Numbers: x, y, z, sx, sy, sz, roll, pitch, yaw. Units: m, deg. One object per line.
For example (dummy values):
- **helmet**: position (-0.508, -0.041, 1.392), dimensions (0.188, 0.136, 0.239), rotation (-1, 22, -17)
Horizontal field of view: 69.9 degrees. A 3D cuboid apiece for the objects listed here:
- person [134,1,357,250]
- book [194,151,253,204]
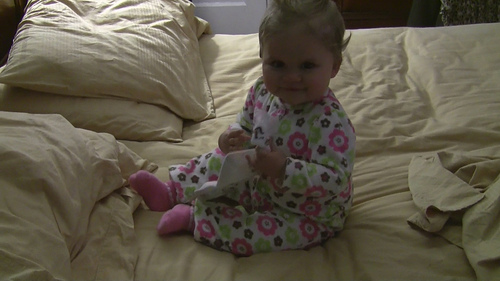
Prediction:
- **person**: position (0.083, -0.184, 1.888), dimensions (1.130, 1.243, 0.893), rotation (-9, 29, -16)
- **book**: position (-0.137, 0.132, 1.562), dimensions (0.282, 0.190, 0.183), rotation (-7, 15, -38)
